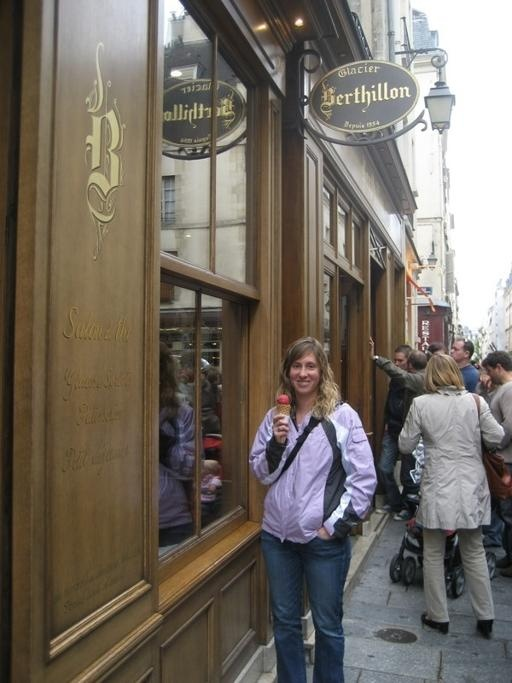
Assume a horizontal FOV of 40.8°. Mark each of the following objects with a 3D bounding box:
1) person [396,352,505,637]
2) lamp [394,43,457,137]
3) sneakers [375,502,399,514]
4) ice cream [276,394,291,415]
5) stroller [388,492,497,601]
[{"bbox_3d":[1.310,1.031,4.630,0.658,1.494,0.419,-1,0,23],"label":"person"},{"bbox_3d":[1.735,-2.557,6.940,0.409,1.019,0.257,-5,-15,22],"label":"lamp"},{"bbox_3d":[1.533,1.972,8.073,0.259,0.146,0.113,11,-5,-5],"label":"sneakers"},{"bbox_3d":[0.125,0.278,3.070,0.056,0.148,0.070,1,4,5],"label":"ice cream"},{"bbox_3d":[1.406,1.599,5.568,0.708,0.927,0.747,17,-14,-27],"label":"stroller"}]
